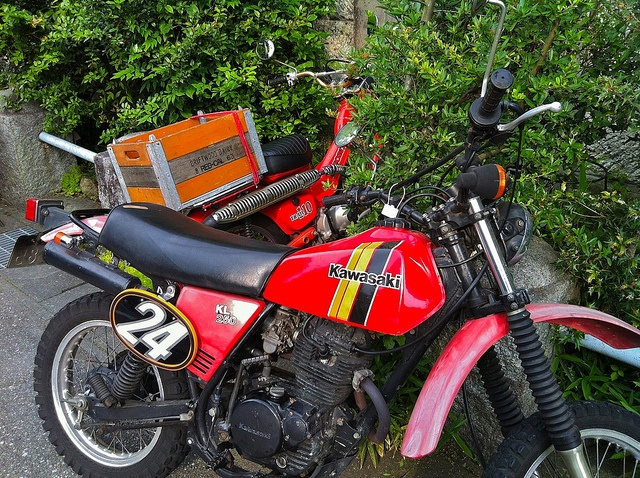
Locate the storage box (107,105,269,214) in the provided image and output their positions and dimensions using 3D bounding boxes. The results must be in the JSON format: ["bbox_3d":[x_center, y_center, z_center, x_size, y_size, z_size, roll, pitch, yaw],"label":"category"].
[{"bbox_3d":[-1.126,-0.511,4.467,1.131,0.742,0.866,-29,13,-33],"label":"storage box"}]
